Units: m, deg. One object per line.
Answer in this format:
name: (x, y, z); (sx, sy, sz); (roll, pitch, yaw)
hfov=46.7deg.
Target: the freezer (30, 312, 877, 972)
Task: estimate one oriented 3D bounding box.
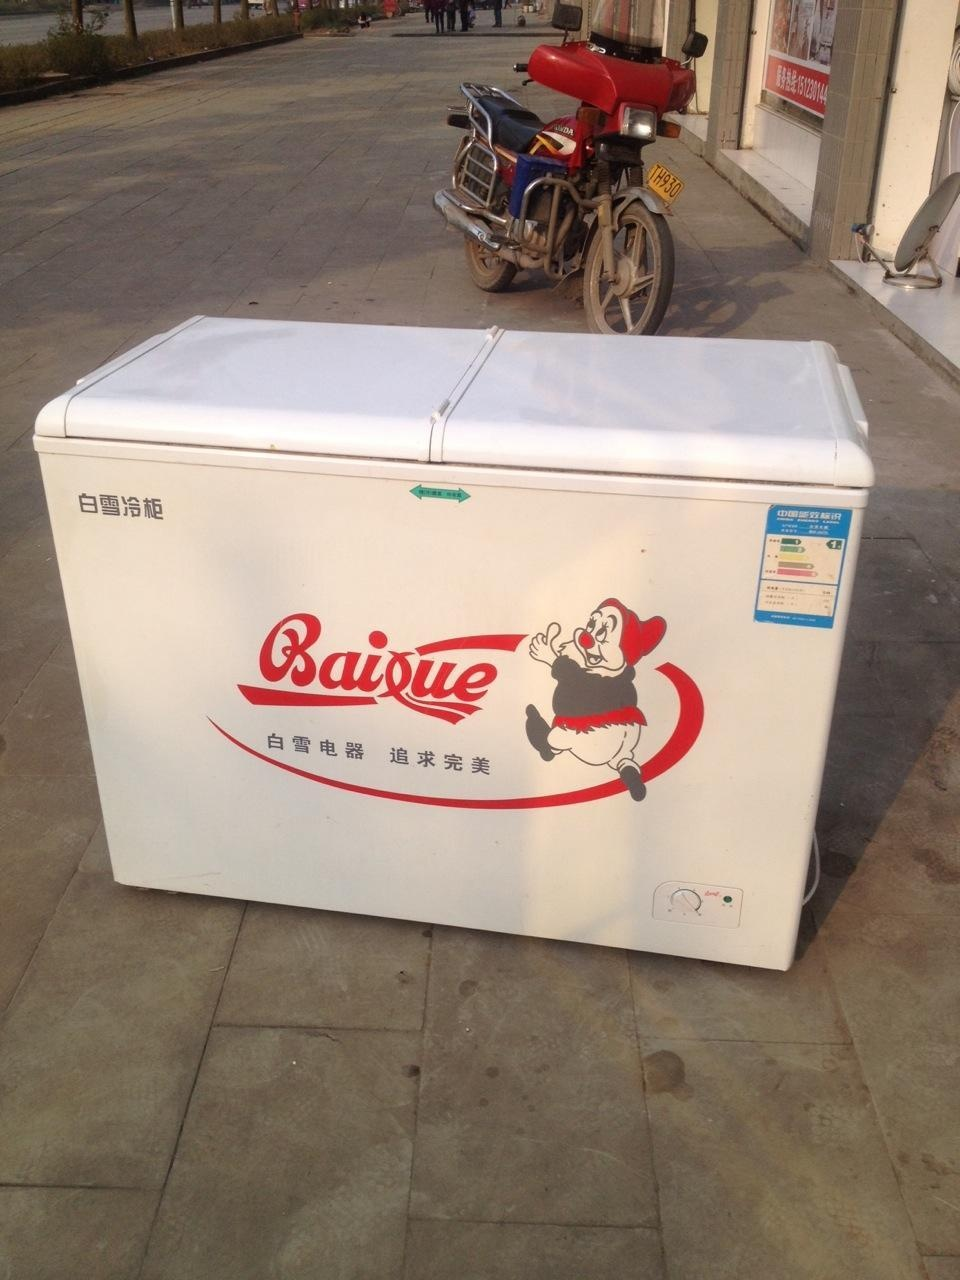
freezer: (-0.001, -0.014, 2.624); (1.662, 1.077, 0.905); (3, 23, 7)
